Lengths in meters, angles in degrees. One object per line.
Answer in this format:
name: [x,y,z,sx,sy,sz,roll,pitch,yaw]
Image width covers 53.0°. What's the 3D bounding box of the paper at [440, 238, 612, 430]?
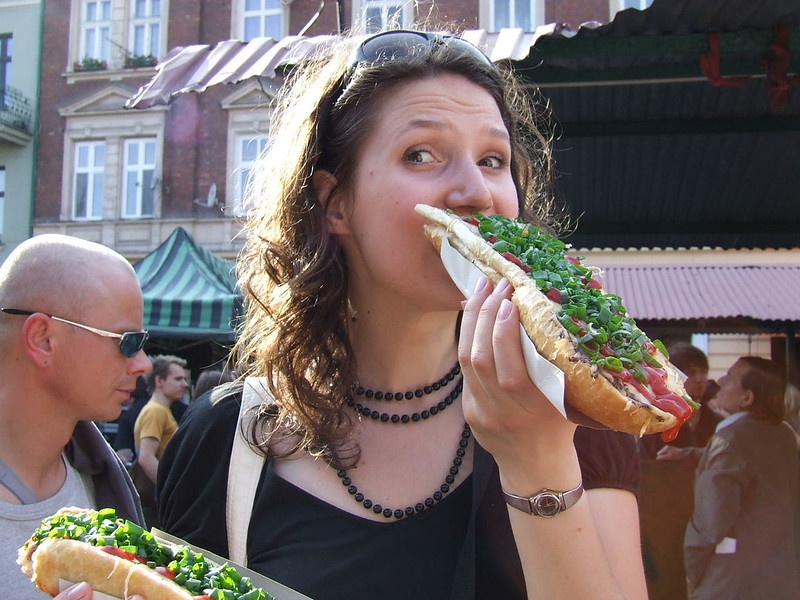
paper: [0.515,0.142,3.283,0.235,0.903,0.217,-35,-18,-11]
